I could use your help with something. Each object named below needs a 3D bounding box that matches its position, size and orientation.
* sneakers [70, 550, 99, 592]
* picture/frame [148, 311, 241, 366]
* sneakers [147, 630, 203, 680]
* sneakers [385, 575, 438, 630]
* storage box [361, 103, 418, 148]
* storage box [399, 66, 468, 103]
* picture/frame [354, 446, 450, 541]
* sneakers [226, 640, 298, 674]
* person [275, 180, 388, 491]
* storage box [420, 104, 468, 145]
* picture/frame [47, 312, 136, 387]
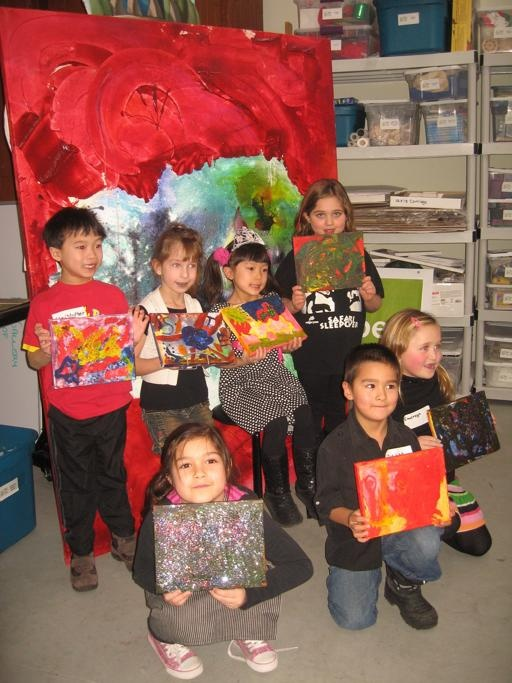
[{"bbox_3d":[-0.525,0.705,1.604,0.063,0.045,0.116,1,50,-27],"label":"sneakers"},{"bbox_3d":[-0.190,-0.008,1.617,0.277,0.163,0.163,-4,8,-12],"label":"picture/frame"},{"bbox_3d":[-0.187,0.746,1.247,0.054,0.051,0.134,-9,2,-35],"label":"sneakers"},{"bbox_3d":[0.418,0.688,1.445,0.065,0.120,0.165,-33,24,-25],"label":"sneakers"},{"bbox_3d":[0.715,-1.124,2.751,0.186,0.208,0.280,14,21,40],"label":"storage box"},{"bbox_3d":[0.939,-1.297,2.697,0.246,0.115,0.177,-1,20,15],"label":"storage box"},{"bbox_3d":[0.360,0.363,1.272,0.254,0.223,0.058,-7,4,-19],"label":"picture/frame"},{"bbox_3d":[0.004,0.755,1.284,0.086,0.051,0.124,-5,-11,-23],"label":"sneakers"},{"bbox_3d":[0.274,-0.076,2.069,0.476,1.170,0.357,0,-15,9],"label":"person"},{"bbox_3d":[0.977,-1.112,2.692,0.227,0.225,0.150,0,8,15],"label":"storage box"},{"bbox_3d":[-0.469,0.021,1.463,0.215,0.173,0.029,-8,4,-30],"label":"picture/frame"}]
